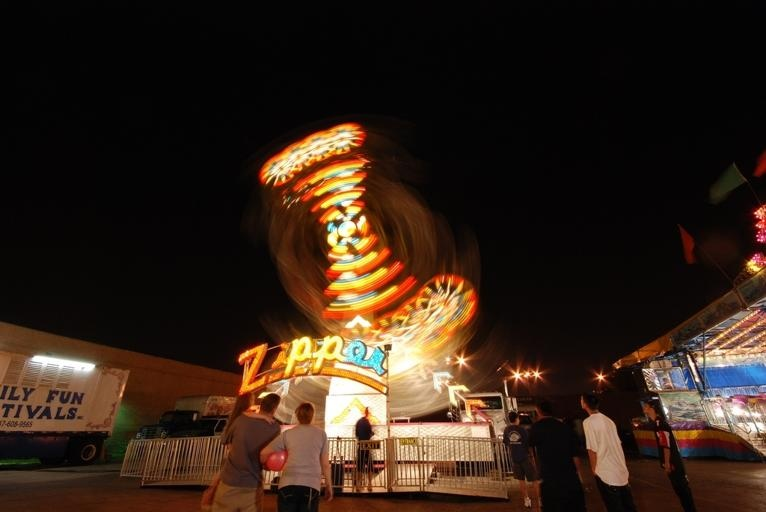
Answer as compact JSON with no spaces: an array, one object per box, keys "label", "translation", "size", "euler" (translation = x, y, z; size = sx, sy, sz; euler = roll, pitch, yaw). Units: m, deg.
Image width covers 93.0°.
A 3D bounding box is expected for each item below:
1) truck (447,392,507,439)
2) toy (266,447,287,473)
[{"label":"truck","translation":[5.042,7.580,18.797],"size":[2.612,1.804,3.259],"euler":[-5,-44,5]},{"label":"toy","translation":[-1.878,3.515,6.346],"size":[0.421,0.278,0.267],"euler":[-15,-65,-2]}]
